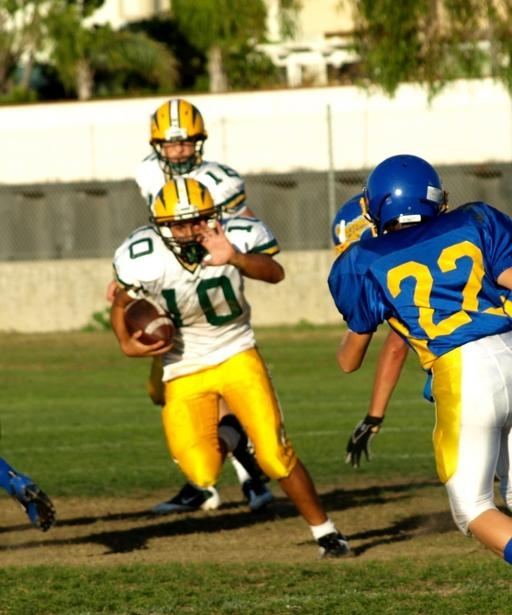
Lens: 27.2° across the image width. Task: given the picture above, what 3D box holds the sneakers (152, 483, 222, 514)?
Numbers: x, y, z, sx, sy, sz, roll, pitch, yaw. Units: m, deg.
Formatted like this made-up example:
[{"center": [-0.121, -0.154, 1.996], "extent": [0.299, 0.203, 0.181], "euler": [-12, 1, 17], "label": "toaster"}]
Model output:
[{"center": [-0.289, 0.880, 4.870], "extent": [0.381, 0.132, 0.114], "euler": [0, -2, -5], "label": "sneakers"}]

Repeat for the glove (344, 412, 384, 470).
[{"center": [0.476, 0.536, 4.283], "extent": [0.080, 0.239, 0.158], "euler": [34, 37, -8], "label": "glove"}]

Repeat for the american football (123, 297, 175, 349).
[{"center": [-0.428, 0.054, 4.193], "extent": [0.231, 0.130, 0.153], "euler": [38, 49, 22], "label": "american football"}]

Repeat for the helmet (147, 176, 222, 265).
[{"center": [-0.279, -0.325, 4.036], "extent": [0.268, 0.354, 0.180], "euler": [-1, 7, 6], "label": "helmet"}]

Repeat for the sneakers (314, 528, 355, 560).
[{"center": [0.309, 0.917, 4.106], "extent": [0.074, 0.061, 0.148], "euler": [-40, -8, 8], "label": "sneakers"}]

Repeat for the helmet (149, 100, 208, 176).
[{"center": [-0.355, -0.791, 4.859], "extent": [0.257, 0.357, 0.303], "euler": [-2, 6, -3], "label": "helmet"}]
